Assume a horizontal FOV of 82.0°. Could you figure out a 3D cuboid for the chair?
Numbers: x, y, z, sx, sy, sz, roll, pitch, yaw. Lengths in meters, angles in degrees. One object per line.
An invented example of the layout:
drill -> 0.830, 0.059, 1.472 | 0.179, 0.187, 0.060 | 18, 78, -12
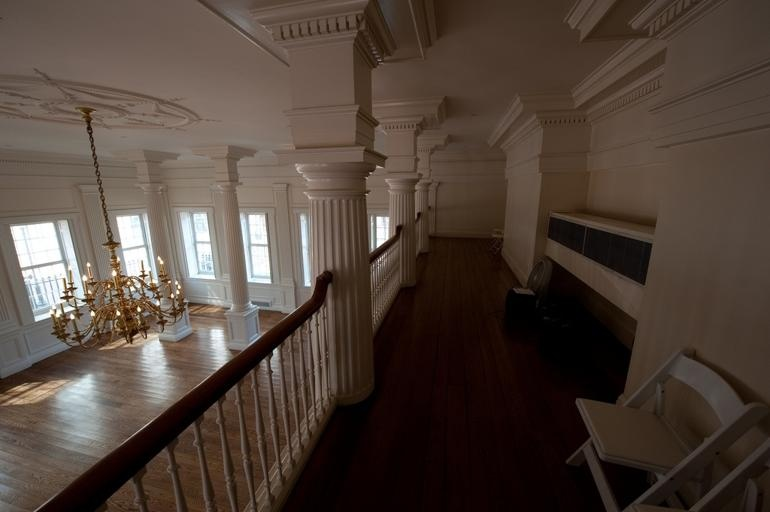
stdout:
chair -> 2.433, 1.382, 4.278 | 1.534, 1.658, 1.093 | 2, 19, 2
